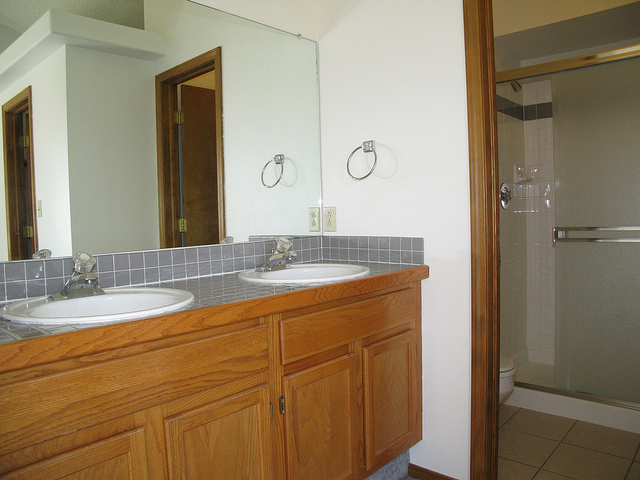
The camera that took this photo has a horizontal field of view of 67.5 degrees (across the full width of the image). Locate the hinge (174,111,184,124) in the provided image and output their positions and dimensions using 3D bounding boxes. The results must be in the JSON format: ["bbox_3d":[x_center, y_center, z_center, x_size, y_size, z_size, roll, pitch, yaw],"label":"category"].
[{"bbox_3d":[-0.675,-0.580,2.262,0.007,0.074,0.062,7,7,38],"label":"hinge"}]

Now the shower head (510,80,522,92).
[{"bbox_3d":[1.278,-0.998,3.109,0.054,0.078,0.018,-44,31,-6],"label":"shower head"}]

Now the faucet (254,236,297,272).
[{"bbox_3d":[-0.219,0.063,2.455,0.209,0.151,0.094,-6,4,15],"label":"faucet"}]

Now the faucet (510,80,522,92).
[{"bbox_3d":[1.280,-0.996,3.113,0.027,0.061,0.138,1,6,44],"label":"faucet"}]

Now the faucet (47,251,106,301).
[{"bbox_3d":[-0.941,0.133,1.849,0.240,0.187,0.163,17,10,41],"label":"faucet"}]

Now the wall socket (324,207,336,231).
[{"bbox_3d":[0.057,-0.120,2.766,0.083,0.132,0.016,1,6,44],"label":"wall socket"}]

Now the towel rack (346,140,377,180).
[{"bbox_3d":[0.229,-0.422,2.609,0.147,0.198,0.044,-1,-11,45],"label":"towel rack"}]

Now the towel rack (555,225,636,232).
[{"bbox_3d":[1.693,-0.070,2.946,0.446,0.033,0.036,0,6,44],"label":"towel rack"}]

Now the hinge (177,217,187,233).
[{"bbox_3d":[-0.653,-0.069,2.257,0.048,0.067,0.019,-5,5,-22],"label":"hinge"}]
